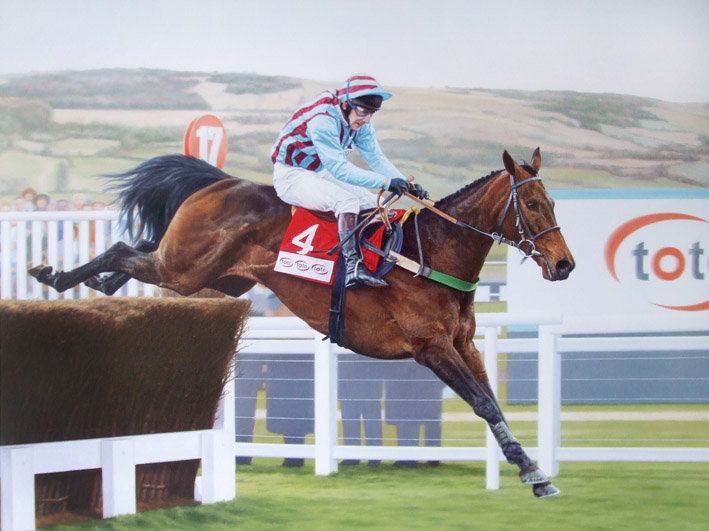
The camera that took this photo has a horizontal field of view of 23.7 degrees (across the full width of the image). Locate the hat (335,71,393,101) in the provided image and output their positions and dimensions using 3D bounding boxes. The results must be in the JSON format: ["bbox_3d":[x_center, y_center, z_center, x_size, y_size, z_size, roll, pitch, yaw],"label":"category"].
[{"bbox_3d":[0.058,-1.617,15.193,0.389,0.153,0.271,-5,5,13],"label":"hat"}]

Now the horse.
[{"bbox_3d":[-0.468,-0.008,15.952,6.109,2.816,1.083,13,6,38],"label":"horse"}]

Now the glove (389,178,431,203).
[{"bbox_3d":[0.487,-0.692,15.015,0.281,0.080,0.193,21,2,-4],"label":"glove"}]

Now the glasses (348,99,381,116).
[{"bbox_3d":[0.073,-1.412,15.146,0.193,0.056,0.177,5,31,-28],"label":"glasses"}]

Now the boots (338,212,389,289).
[{"bbox_3d":[0.055,-0.126,14.981,0.268,0.633,0.466,-10,16,-39],"label":"boots"}]
